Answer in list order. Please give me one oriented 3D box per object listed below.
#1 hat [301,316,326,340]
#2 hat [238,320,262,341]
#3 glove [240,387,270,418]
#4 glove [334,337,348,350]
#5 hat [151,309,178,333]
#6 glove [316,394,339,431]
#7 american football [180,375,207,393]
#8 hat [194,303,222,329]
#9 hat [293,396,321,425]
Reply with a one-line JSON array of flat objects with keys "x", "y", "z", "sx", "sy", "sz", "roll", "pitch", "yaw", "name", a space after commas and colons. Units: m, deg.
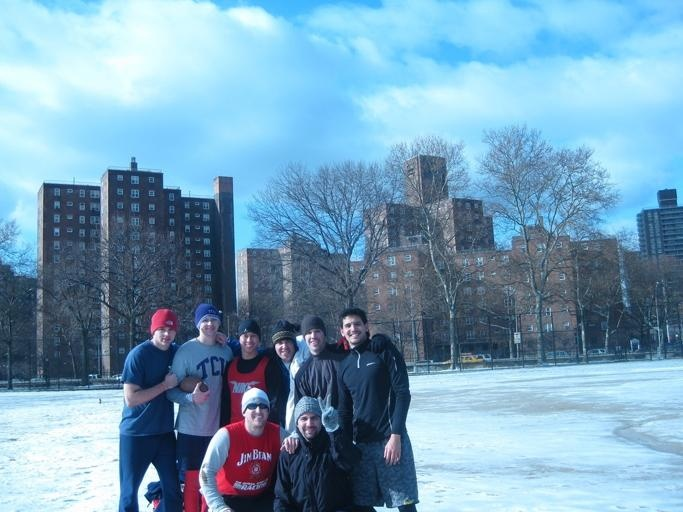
[{"x": -0.506, "y": 1.232, "z": 13.105, "sx": 0.274, "sy": 0.319, "sz": 0.400, "roll": -2, "pitch": -24, "yaw": 2, "name": "hat"}, {"x": -1.646, "y": 1.317, "z": 13.563, "sx": 0.300, "sy": 0.267, "sz": 0.328, "roll": 4, "pitch": -9, "yaw": -10, "name": "hat"}, {"x": -1.425, "y": 2.389, "z": 12.549, "sx": 0.400, "sy": 0.380, "sz": 0.421, "roll": 1, "pitch": -8, "yaw": -3, "name": "glove"}, {"x": 0.012, "y": 1.531, "z": 13.345, "sx": 0.153, "sy": 0.175, "sz": 0.229, "roll": -1, "pitch": -19, "yaw": 5, "name": "glove"}, {"x": -3.015, "y": 1.123, "z": 13.186, "sx": 0.327, "sy": 0.406, "sz": 0.462, "roll": -1, "pitch": -3, "yaw": 20, "name": "hat"}, {"x": -0.185, "y": 2.588, "z": 12.371, "sx": 0.283, "sy": 0.486, "sz": 0.480, "roll": -2, "pitch": 0, "yaw": -36, "name": "glove"}, {"x": -2.528, "y": 2.160, "z": 13.035, "sx": 0.336, "sy": 0.218, "sz": 0.269, "roll": 2, "pitch": 3, "yaw": 1, "name": "american football"}, {"x": -2.402, "y": 1.043, "z": 13.578, "sx": 0.473, "sy": 0.500, "sz": 0.448, "roll": -2, "pitch": -9, "yaw": 10, "name": "hat"}, {"x": -0.532, "y": 2.485, "z": 12.208, "sx": 0.386, "sy": 0.347, "sz": 0.409, "roll": -1, "pitch": -19, "yaw": -3, "name": "hat"}]
